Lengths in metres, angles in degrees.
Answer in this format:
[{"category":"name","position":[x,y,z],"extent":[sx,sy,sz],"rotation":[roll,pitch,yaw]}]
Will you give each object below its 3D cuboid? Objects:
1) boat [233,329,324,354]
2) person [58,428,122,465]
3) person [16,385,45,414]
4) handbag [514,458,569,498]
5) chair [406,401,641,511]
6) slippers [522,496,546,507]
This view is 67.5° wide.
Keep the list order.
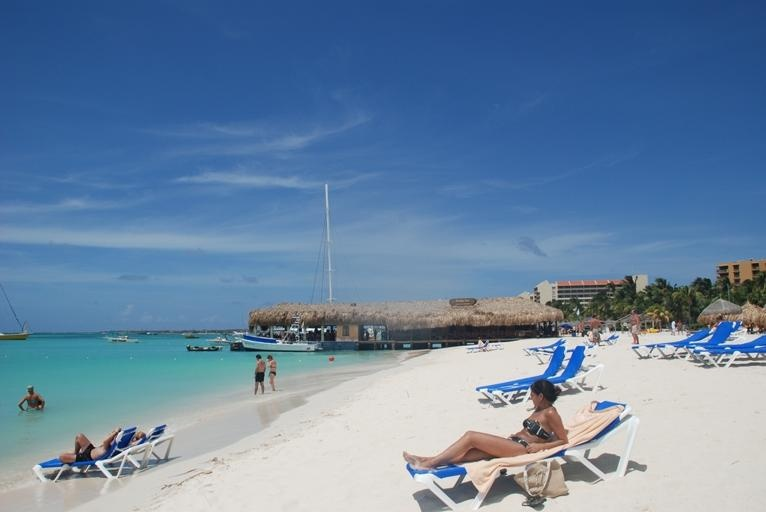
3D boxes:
[{"category":"boat","position":[-9.736,7.264,51.188],"extent":[8.581,2.193,2.511],"rotation":[2,-14,8]},{"category":"person","position":[-6.713,4.374,13.103],"extent":[1.721,0.817,0.589],"rotation":[-7,-14,10]},{"category":"person","position":[-12.382,5.006,20.129],"extent":[0.456,0.899,1.429],"rotation":[1,-8,-45]},{"category":"handbag","position":[2.714,3.672,9.601],"extent":[0.745,0.247,0.613],"rotation":[-35,23,-26]},{"category":"chair","position":[2.314,3.490,10.139],"extent":[4.191,1.394,1.685],"rotation":[-1,-13,-6]},{"category":"slippers","position":[2.462,4.032,9.374],"extent":[0.193,0.098,0.251],"rotation":[-2,-12,-4]}]
